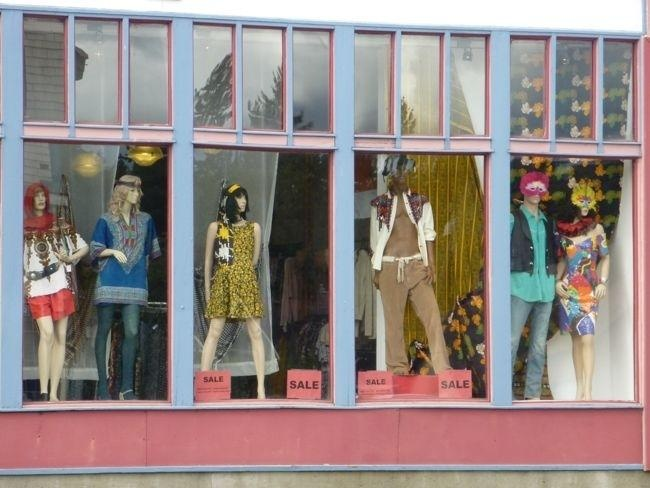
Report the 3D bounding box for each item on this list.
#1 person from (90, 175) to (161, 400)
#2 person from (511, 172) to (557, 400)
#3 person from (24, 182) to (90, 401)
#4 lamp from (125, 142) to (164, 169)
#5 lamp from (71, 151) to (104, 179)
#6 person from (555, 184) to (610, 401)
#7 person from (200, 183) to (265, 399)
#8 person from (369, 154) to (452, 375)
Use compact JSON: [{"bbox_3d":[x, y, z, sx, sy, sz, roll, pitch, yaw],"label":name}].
[{"bbox_3d":[-2.183,0.439,16.373,0.638,2.354,0.274,0,1,-6],"label":"person"},{"bbox_3d":[2.289,0.431,16.671,0.638,2.448,0.187,-1,2,-31],"label":"person"},{"bbox_3d":[-2.886,0.493,16.279,0.220,2.267,0.683,1,2,42],"label":"person"},{"bbox_3d":[-1.912,-0.949,16.299,0.253,0.191,0.268,-1,-1,15],"label":"lamp"},{"bbox_3d":[-2.539,-0.845,16.373,0.247,0.225,0.254,1,-4,-24],"label":"lamp"},{"bbox_3d":[2.808,0.479,16.745,0.563,2.344,0.251,0,1,9],"label":"person"},{"bbox_3d":[-0.993,0.449,16.474,0.693,2.193,0.274,0,1,-5],"label":"person"},{"bbox_3d":[0.907,0.225,16.688,0.803,2.352,0.292,0,1,2],"label":"person"}]
